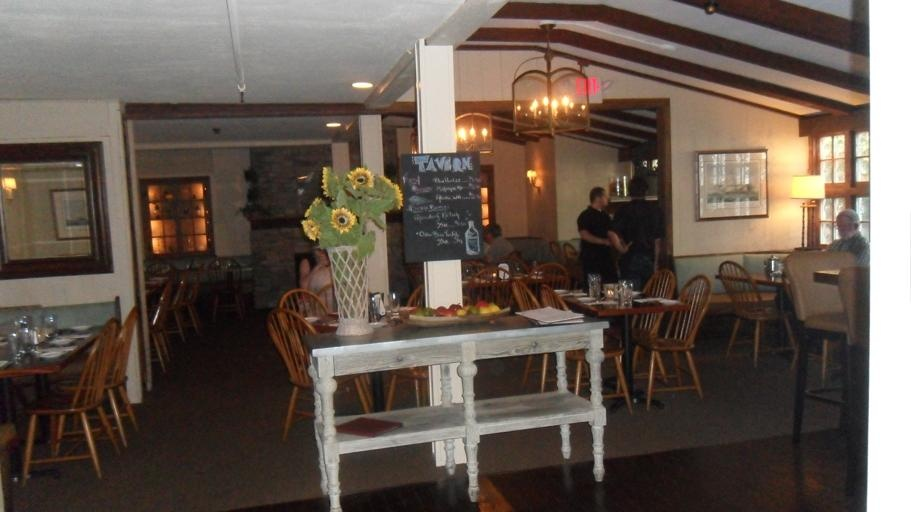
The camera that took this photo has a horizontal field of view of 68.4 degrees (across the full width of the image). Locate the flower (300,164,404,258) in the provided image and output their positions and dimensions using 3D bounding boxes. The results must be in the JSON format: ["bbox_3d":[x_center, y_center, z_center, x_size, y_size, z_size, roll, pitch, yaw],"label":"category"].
[{"bbox_3d":[-0.965,-0.410,6.254,0.907,0.835,0.230,-3,5,-4],"label":"flower"}]

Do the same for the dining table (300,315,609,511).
[{"bbox_3d":[-0.038,1.555,6.500,2.083,1.063,0.632,-2,1,-15],"label":"dining table"}]

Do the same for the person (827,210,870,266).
[{"bbox_3d":[4.934,-0.236,8.370,0.501,0.730,0.844,-1,4,7],"label":"person"}]

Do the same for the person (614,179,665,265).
[{"bbox_3d":[2.590,-0.482,9.491,0.694,1.267,0.418,-3,5,3],"label":"person"}]

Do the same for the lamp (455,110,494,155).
[{"bbox_3d":[0.199,-1.943,10.538,0.709,0.624,0.262,-9,13,-32],"label":"lamp"}]

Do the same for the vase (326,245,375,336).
[{"bbox_3d":[-0.980,0.309,6.225,0.340,0.814,0.318,-4,5,-8],"label":"vase"}]

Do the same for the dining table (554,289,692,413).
[{"bbox_3d":[1.771,0.999,8.047,1.410,1.204,1.366,-9,14,-36],"label":"dining table"}]

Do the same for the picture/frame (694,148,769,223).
[{"bbox_3d":[4.405,-1.200,10.819,1.357,1.174,0.163,-1,8,-7],"label":"picture/frame"}]

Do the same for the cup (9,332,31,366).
[{"bbox_3d":[-4.403,0.906,6.748,0.168,0.282,0.310,-7,6,-32],"label":"cup"}]

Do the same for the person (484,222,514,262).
[{"bbox_3d":[0.693,-0.209,10.777,0.446,0.616,0.760,-3,5,4],"label":"person"}]

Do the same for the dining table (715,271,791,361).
[{"bbox_3d":[4.221,0.696,9.425,0.855,1.334,1.553,-1,5,25],"label":"dining table"}]

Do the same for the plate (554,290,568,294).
[{"bbox_3d":[1.371,0.457,8.627,0.110,0.021,0.110,5,7,41],"label":"plate"}]

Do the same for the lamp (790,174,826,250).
[{"bbox_3d":[5.627,-0.727,10.668,0.480,1.128,0.524,-1,6,26],"label":"lamp"}]

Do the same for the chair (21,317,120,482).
[{"bbox_3d":[-4.190,1.445,7.282,0.994,1.568,1.383,-6,6,-28],"label":"chair"}]

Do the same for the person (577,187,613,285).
[{"bbox_3d":[2.090,-0.310,9.927,0.521,1.392,0.870,-2,5,13],"label":"person"}]

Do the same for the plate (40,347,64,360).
[{"bbox_3d":[-4.142,0.988,6.864,0.230,0.055,0.288,-3,4,-1],"label":"plate"}]
